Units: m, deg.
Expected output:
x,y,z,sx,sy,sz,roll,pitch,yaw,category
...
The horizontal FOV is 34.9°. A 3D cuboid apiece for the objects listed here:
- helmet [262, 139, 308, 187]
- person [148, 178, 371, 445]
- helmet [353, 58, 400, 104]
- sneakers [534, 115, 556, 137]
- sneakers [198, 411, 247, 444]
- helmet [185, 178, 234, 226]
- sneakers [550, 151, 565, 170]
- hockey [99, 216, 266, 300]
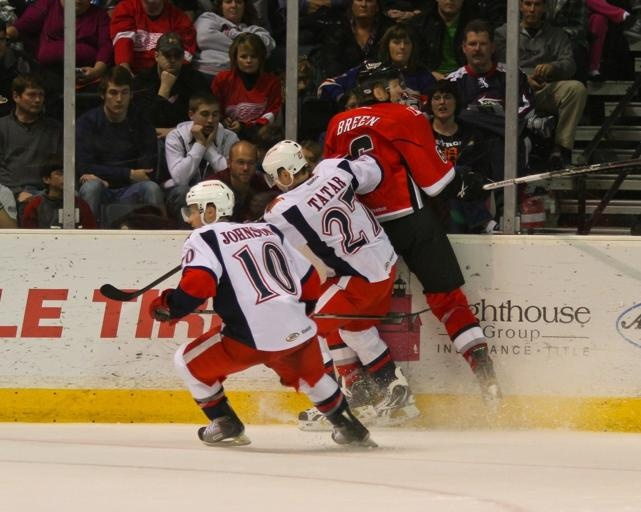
x,y,z,sx,sy,sz,roll,pitch,yaw,category
-0.230,-0.608,6.738,0.368,0.246,0.251,2,18,13,helmet
-0.381,0.457,6.210,1.022,1.514,0.670,5,17,29,person
0.386,-1.233,7.248,0.400,0.284,0.266,-9,6,-4,helmet
1.568,-0.900,7.149,0.183,0.145,0.127,7,2,13,sneakers
-0.677,1.089,6.403,0.439,0.152,0.120,1,43,-2,sneakers
-0.681,-0.356,6.551,0.365,0.221,0.233,1,-1,4,helmet
1.661,-0.665,7.166,0.106,0.113,0.042,-1,-17,10,sneakers
-0.882,0.039,6.543,0.959,0.125,0.146,-31,43,-23,hockey
